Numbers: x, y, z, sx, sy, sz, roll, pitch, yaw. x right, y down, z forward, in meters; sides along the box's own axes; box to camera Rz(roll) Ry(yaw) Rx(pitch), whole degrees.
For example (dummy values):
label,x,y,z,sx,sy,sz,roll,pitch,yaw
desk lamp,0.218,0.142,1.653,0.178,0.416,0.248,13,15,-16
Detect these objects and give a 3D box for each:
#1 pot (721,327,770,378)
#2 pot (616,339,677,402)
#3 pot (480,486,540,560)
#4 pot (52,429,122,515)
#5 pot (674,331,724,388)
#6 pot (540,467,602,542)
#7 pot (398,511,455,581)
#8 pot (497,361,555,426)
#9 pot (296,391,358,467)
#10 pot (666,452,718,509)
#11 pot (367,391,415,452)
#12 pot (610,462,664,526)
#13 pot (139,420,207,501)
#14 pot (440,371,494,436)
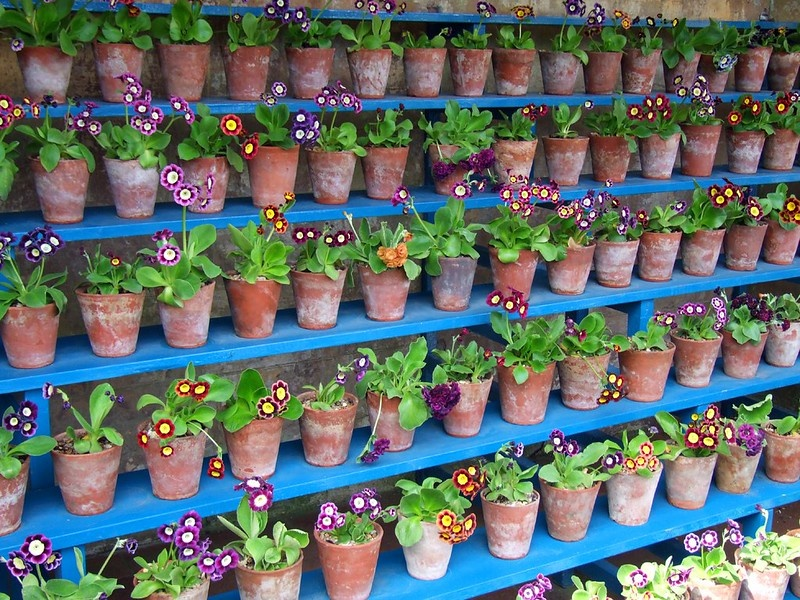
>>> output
label,x,y,z,sx,sy,sz,roll,pitch,yaw
pot,1.623,0.242,3.406,0.211,0.229,0.228,0,9,0
pot,1.086,0.340,3.140,0.230,0.236,0.252,-3,2,0
pot,0.428,0.866,2.795,0.242,0.228,0.232,0,7,0
pot,-1.060,0.603,2.391,0.237,0.233,0.237,1,8,0
pot,1.322,0.264,3.259,0.234,0.243,0.234,-1,12,0
pot,0.669,0.853,2.903,0.240,0.240,0.263,0,7,0
pot,0.106,0.940,2.724,0.224,0.202,0.239,1,6,0
pot,0.516,0.382,2.948,0.255,0.261,0.250,-1,6,0
pot,-0.262,0.503,2.692,0.224,0.229,0.254,9,12,30
pot,1.240,0.792,3.021,0.219,0.246,0.245,0,3,3
pot,-0.019,0.452,2.742,0.209,0.219,0.206,0,10,0
pot,0.945,0.806,2.975,0.239,0.225,0.232,0,6,0
pot,-0.792,0.579,2.477,0.215,0.220,0.232,-2,2,0
pot,0.253,0.438,2.872,0.217,0.243,0.243,5,7,13
